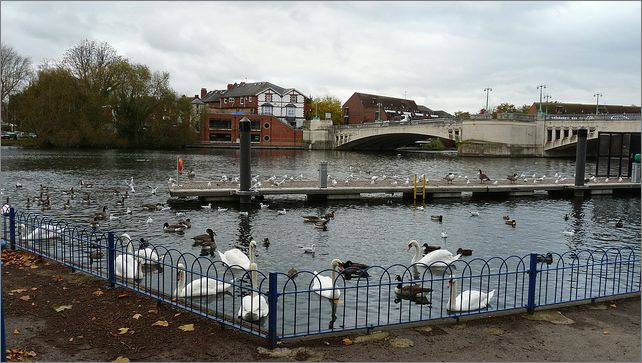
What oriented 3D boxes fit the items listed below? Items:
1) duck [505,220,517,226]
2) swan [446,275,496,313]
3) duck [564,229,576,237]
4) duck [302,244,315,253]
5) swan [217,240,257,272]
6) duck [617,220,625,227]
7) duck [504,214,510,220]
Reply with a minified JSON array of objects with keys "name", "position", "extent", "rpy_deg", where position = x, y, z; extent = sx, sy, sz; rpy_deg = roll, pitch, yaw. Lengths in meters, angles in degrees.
[{"name":"duck","position":[13.477,2.911,44.843],"extent":[0.800,0.443,0.283],"rpy_deg":[7,7,27]},{"name":"swan","position":[7.771,5.826,33.386],"extent":[2.768,2.026,1.235],"rpy_deg":[-2,6,-21]},{"name":"duck","position":[16.946,3.483,43.062],"extent":[0.758,0.232,1.036],"rpy_deg":[2,6,20]},{"name":"duck","position":[-0.781,4.196,39.556],"extent":[0.792,0.437,0.948],"rpy_deg":[0,6,-2]},{"name":"swan","position":[-4.689,4.454,36.811],"extent":[3.467,1.764,1.321],"rpy_deg":[4,8,37]},{"name":"duck","position":[21.436,3.021,45.127],"extent":[0.559,0.376,0.609],"rpy_deg":[7,7,23]},{"name":"duck","position":[13.478,2.626,45.922],"extent":[0.251,0.276,0.456],"rpy_deg":[-4,9,-32]}]
